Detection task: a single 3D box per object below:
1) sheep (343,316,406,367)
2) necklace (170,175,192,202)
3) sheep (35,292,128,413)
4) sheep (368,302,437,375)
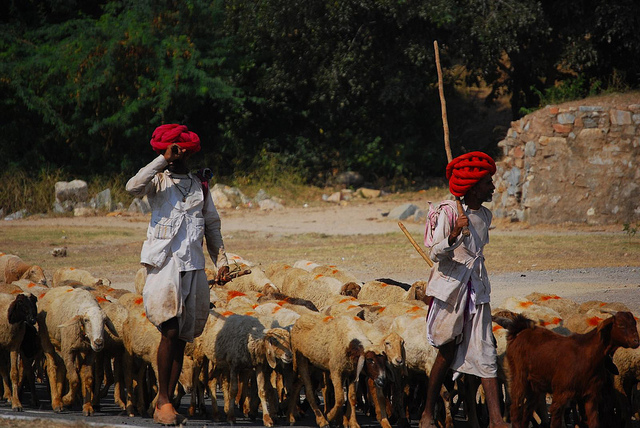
[{"bbox_3d":[1.454,3.106,27.222,0.661,1.030,1.882,-8,21,-36],"label":"sheep"},{"bbox_3d":[-3.313,-0.610,26.732,0.143,0.582,0.547,-6,7,-26],"label":"necklace"},{"bbox_3d":[-5.852,3.265,27.309,1.268,2.924,3.572,-6,6,-31],"label":"sheep"},{"bbox_3d":[2.185,2.941,28.120,0.867,1.330,2.437,3,2,-16],"label":"sheep"}]
